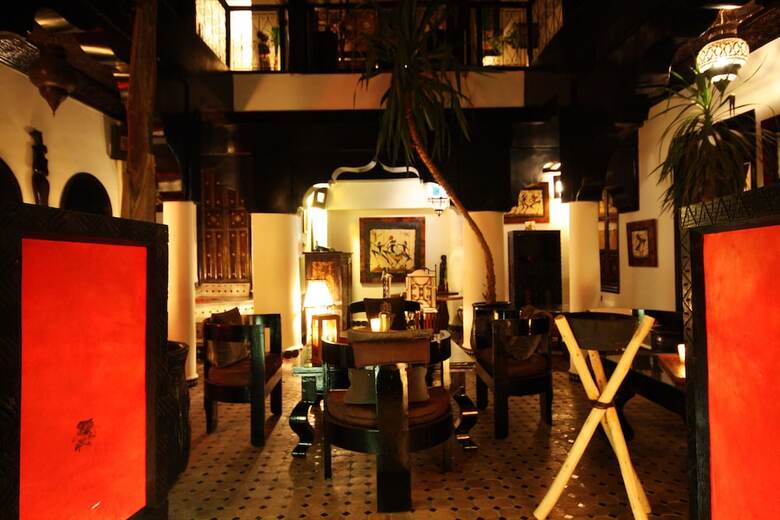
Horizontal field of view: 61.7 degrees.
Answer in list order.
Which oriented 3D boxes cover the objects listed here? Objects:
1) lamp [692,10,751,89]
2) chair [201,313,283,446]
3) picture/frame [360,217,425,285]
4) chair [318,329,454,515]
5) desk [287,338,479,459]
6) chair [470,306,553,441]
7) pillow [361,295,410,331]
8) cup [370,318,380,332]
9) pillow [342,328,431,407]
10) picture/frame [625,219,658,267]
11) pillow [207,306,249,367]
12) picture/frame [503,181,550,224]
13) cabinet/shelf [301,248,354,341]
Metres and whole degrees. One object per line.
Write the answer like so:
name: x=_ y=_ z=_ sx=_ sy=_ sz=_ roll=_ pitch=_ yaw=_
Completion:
lamp: x=3.385 y=-2.148 z=6.680 sx=0.427 sy=0.812 sz=0.454 roll=1 pitch=13 yaw=10
chair: x=-1.625 y=1.232 z=7.147 sx=0.778 sy=1.303 sz=1.322 roll=-1 pitch=0 yaw=-2
picture/frame: x=0.106 y=-0.252 z=13.962 sx=1.397 sy=1.491 sz=0.053 roll=0 pitch=-2 yaw=-1
chair: x=-0.106 y=1.335 z=6.119 sx=1.319 sy=1.596 sz=1.415 roll=1 pitch=2 yaw=33
desk: x=-0.020 y=1.297 z=6.308 sx=1.887 sy=0.885 sz=1.723 roll=-7 pitch=-15 yaw=3
chair: x=1.464 y=1.258 z=7.293 sx=0.842 sy=1.228 sz=1.446 roll=1 pitch=-4 yaw=6
pillow: x=-0.055 y=0.681 z=7.534 sx=0.503 sy=0.534 sz=0.193 roll=-3 pitch=-17 yaw=4
cup: x=-0.162 y=0.681 z=6.899 sx=0.130 sy=0.152 sz=0.138 roll=0 pitch=-7 yaw=0
pillow: x=0.154 y=0.897 z=5.630 sx=0.840 sy=0.659 sz=0.608 roll=-7 pitch=0 yaw=25
picture/frame: x=3.816 y=-0.255 z=9.964 sx=0.689 sy=0.714 sz=0.053 roll=-5 pitch=2 yaw=-36
pillow: x=-1.681 y=0.821 z=6.805 sx=0.187 sy=0.540 sz=0.546 roll=-11 pitch=-4 yaw=31
picture/frame: x=2.555 y=-1.073 z=11.998 sx=1.002 sy=0.771 sz=0.112 roll=0 pitch=-4 yaw=2
cabinet/shelf: x=-1.196 y=0.766 z=13.563 sx=0.717 sy=1.995 sz=1.963 roll=-1 pitch=1 yaw=4
